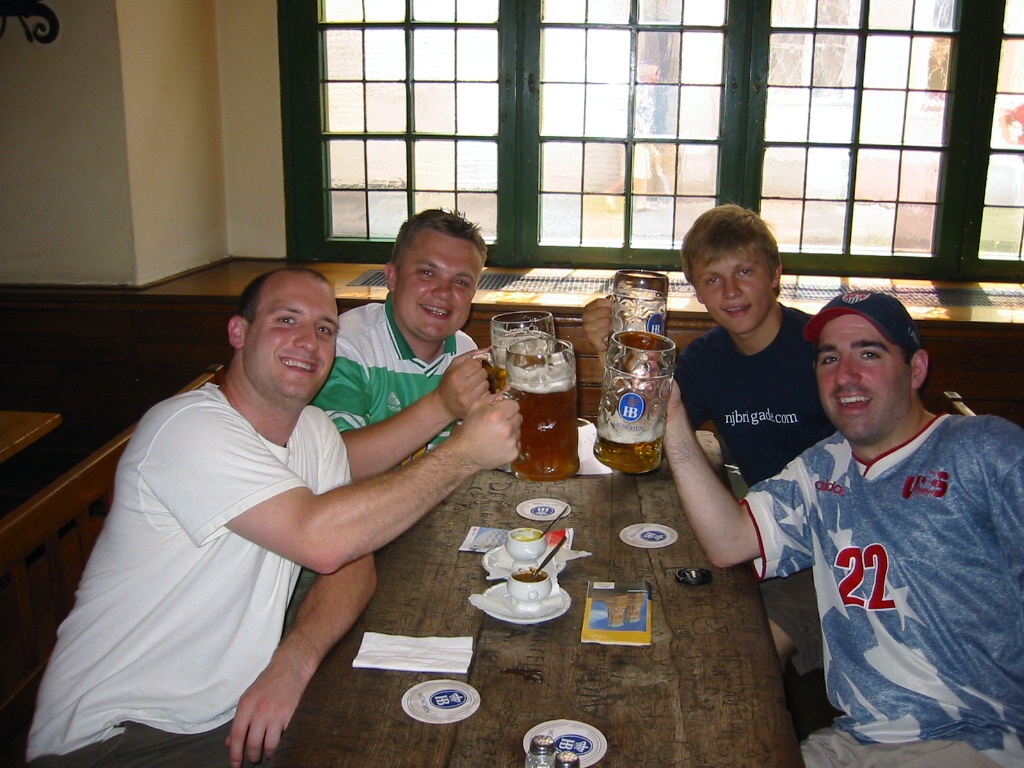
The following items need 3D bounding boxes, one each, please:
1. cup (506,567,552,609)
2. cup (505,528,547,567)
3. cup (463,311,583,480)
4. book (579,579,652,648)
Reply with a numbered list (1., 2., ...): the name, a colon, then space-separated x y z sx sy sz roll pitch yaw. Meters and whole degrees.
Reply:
1. cup: 0.039 0.404 1.539 0.064 0.044 0.068 0 2 0
2. cup: 0.027 0.357 1.710 0.067 0.051 0.068 0 8 0
3. cup: 0.061 0.027 1.655 0.200 0.369 0.358 -3 -3 -19
4. book: 0.204 0.456 1.524 0.213 0.030 0.284 -2 10 9
